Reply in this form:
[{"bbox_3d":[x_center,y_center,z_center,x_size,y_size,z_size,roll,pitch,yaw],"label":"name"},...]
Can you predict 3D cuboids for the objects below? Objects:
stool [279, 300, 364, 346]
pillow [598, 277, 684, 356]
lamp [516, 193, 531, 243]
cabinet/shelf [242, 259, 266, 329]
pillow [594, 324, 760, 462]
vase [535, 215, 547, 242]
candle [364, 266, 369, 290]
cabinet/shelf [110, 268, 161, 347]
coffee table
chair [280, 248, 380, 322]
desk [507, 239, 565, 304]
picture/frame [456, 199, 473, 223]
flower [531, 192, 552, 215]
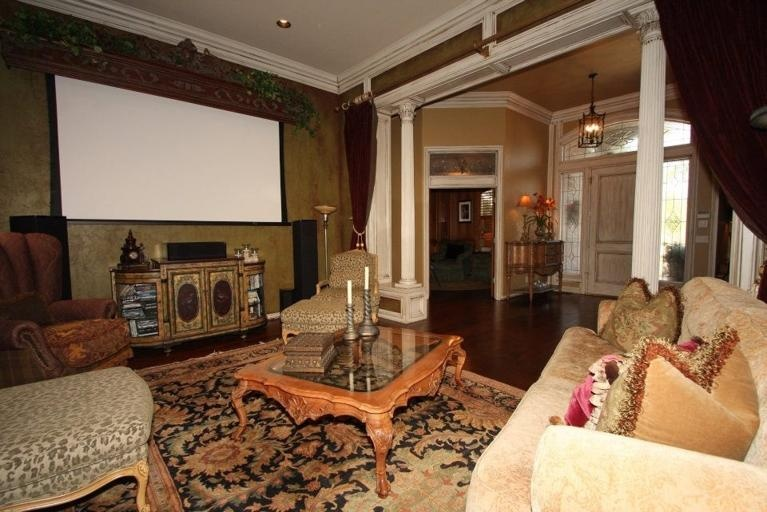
[{"bbox_3d":[-0.784,0.904,5.840,0.586,0.403,0.821,14,-16,-25],"label":"stool"},{"bbox_3d":[2.254,0.530,4.193,0.207,0.689,0.680,19,14,-6],"label":"pillow"},{"bbox_3d":[2.550,-0.743,8.763,0.246,0.826,0.693,2,9,15],"label":"lamp"},{"bbox_3d":[-1.766,0.547,6.550,0.206,0.992,0.540,-1,9,2],"label":"cabinet/shelf"},{"bbox_3d":[1.897,0.856,3.277,0.811,0.851,0.315,12,-11,6],"label":"pillow"},{"bbox_3d":[2.830,-0.523,8.646,0.190,0.464,0.378,2,9,20],"label":"vase"},{"bbox_3d":[-0.158,0.208,4.427,0.029,0.218,0.101,-3,9,-13],"label":"candle"},{"bbox_3d":[-2.988,0.620,5.902,0.684,0.942,0.623,-1,-1,-44],"label":"cabinet/shelf"},{"bbox_3d":[-0.386,1.072,4.158,1.362,0.586,1.666,-1,3,26],"label":"coffee table"},{"bbox_3d":[-0.586,0.504,6.027,0.946,1.091,1.236,1,9,18],"label":"chair"},{"bbox_3d":[2.796,0.211,8.798,1.169,0.945,0.710,-5,6,-43],"label":"desk"},{"bbox_3d":[2.236,-1.251,13.278,0.056,0.844,0.632,-5,8,-42],"label":"picture/frame"},{"bbox_3d":[2.910,-0.985,8.820,0.375,0.393,0.821,2,8,17],"label":"flower"}]
